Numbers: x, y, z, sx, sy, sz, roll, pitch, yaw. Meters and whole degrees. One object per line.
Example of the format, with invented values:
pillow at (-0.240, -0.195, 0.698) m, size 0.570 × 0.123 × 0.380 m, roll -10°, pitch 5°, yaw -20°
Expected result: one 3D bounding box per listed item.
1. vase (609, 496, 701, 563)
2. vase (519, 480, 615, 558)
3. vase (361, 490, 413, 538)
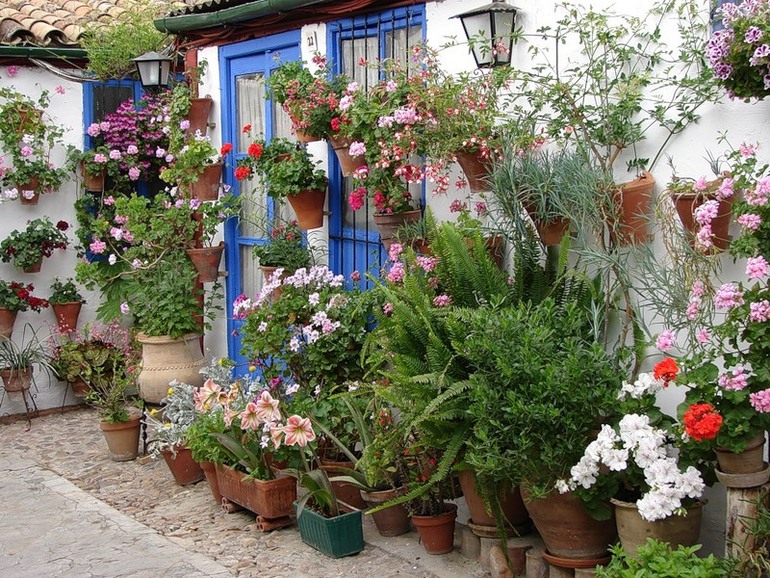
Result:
vase at (1.386, 1.227, 3.664) m, size 0.431 × 0.354 × 0.444 m, roll 14°, pitch -11°, yaw -35°
vase at (0.982, 1.162, 3.774) m, size 0.397 × 0.341 × 0.423 m, roll 0°, pitch -5°, yaw 3°
vase at (0.009, 1.441, 4.629) m, size 0.301 × 0.288 × 0.316 m, roll -4°, pitch -4°, yaw -16°
